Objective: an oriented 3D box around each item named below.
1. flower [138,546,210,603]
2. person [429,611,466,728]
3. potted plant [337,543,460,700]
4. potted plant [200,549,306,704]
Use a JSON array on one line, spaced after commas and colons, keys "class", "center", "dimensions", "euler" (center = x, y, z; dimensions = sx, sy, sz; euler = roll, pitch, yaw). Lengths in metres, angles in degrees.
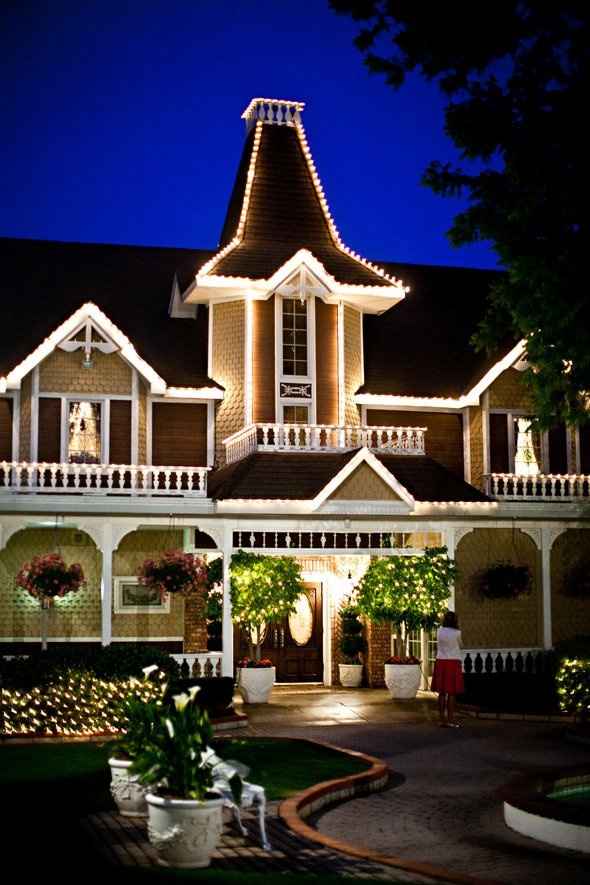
[{"class": "flower", "center": [-2.230, 2.394, 20.211], "dimensions": [1.164, 0.823, 1.165], "euler": [3, -13, 0]}, {"class": "person", "center": [2.423, 3.588, 17.104], "dimensions": [0.487, 1.792, 1.412], "euler": [-3, -11, 7]}, {"class": "potted plant", "center": [2.138, 3.413, 21.214], "dimensions": [2.686, 2.847, 2.082], "euler": [1, -14, -5]}, {"class": "potted plant", "center": [-0.583, 3.217, 20.528], "dimensions": [1.392, 2.228, 1.796], "euler": [1, 0, -10]}]
